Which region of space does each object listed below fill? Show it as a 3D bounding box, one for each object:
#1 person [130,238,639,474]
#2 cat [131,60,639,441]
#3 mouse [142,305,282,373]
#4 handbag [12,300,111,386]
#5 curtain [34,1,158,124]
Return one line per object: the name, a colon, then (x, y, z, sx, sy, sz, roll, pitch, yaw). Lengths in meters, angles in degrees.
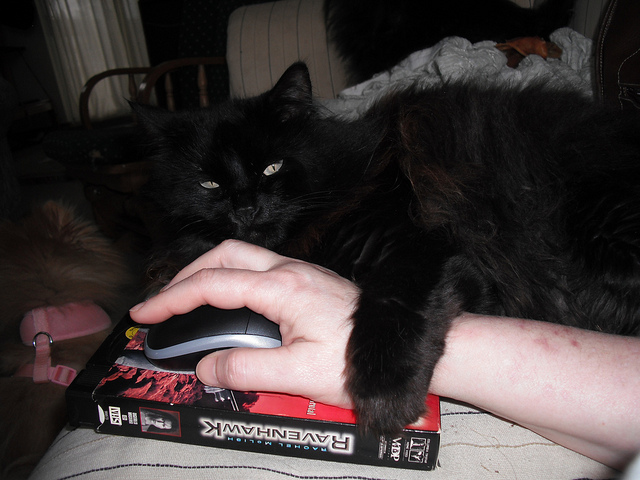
person: (0.128, 0.269, 1.147, 0.818, 0.220, 0.407, 15, 53, 1)
cat: (0.213, -0.084, 1.219, 0.864, 0.306, 0.802, -11, 14, -18)
mouse: (-0.220, 0.181, 1.088, 0.232, 0.077, 0.133, 0, 5, 1)
handbag: (-0.520, 0.232, 1.198, 0.154, 0.080, 0.212, -17, 30, -30)
curtain: (-1.949, -1.511, 4.810, 0.458, 1.089, 1.224, 3, 30, 5)
